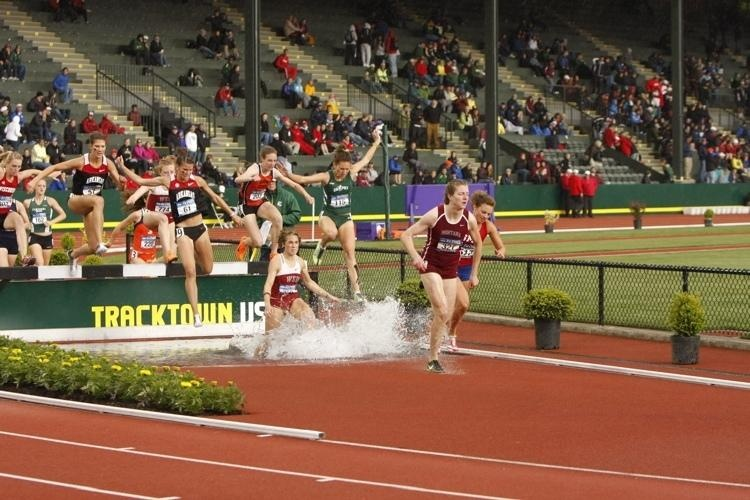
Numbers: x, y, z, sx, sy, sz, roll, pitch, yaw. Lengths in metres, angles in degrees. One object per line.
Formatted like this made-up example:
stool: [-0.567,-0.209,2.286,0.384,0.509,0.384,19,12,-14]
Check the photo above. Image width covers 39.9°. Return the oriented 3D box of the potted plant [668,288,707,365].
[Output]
potted plant: [5.273,1.313,17.605,0.558,1.183,0.485,-1,1,18]

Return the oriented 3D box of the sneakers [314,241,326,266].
sneakers: [-1.210,0.046,22.345,0.208,0.637,0.262,13,-9,-4]

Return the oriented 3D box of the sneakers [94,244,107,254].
sneakers: [-5.243,-0.039,19.935,0.164,0.189,0.445,0,-6,-21]

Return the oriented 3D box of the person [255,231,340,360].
person: [-1.570,0.754,18.528,1.161,2.200,0.870,-2,1,-7]

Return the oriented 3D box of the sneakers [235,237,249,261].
sneakers: [-3.163,-0.023,24.770,0.248,0.582,0.212,8,1,26]

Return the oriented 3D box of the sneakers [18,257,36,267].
sneakers: [-6.943,0.214,20.768,0.343,0.162,0.130,-8,-6,33]

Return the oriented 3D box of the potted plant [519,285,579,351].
potted plant: [3.088,1.236,19.032,0.973,1.152,1.120,2,2,37]

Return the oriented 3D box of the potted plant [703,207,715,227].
potted plant: [13.743,-1.369,42.836,0.320,0.707,1.494,-1,1,16]

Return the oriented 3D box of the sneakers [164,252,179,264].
sneakers: [-3.771,0.167,19.307,0.240,0.154,0.238,-26,37,-5]

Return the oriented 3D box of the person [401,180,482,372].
person: [1.024,0.430,16.613,1.028,3.090,1.006,-1,1,9]
